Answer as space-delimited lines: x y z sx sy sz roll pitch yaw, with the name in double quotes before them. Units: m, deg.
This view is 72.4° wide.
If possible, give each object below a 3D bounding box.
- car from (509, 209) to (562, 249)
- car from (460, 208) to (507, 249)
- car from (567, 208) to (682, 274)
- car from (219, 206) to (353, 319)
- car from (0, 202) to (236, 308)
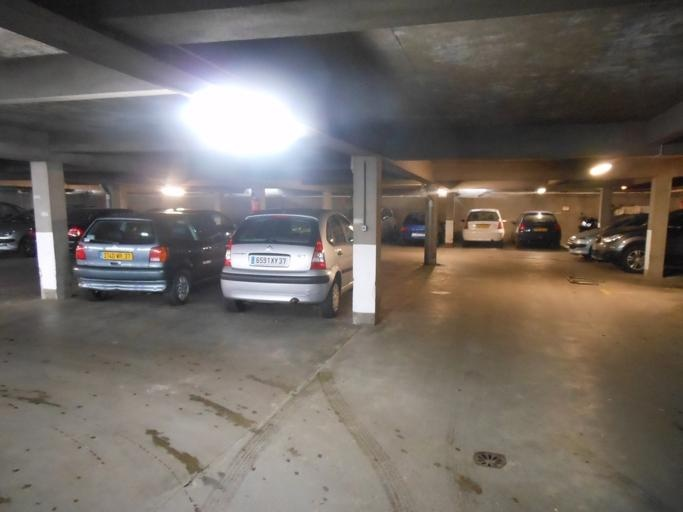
"car" 8.222 -1.143 19.820 1.276 1.202 2.357 2 13 18
"car" 6.277 -0.665 21.338 1.824 1.829 3.964 2 -13 14
"car" 8.189 -0.444 13.382 2.945 1.612 1.667 2 7 13
"car" -0.926 0.061 7.752 1.282 1.201 2.506 1 12 10
"car" -3.622 -0.036 9.372 1.572 1.721 2.689 8 16 27
